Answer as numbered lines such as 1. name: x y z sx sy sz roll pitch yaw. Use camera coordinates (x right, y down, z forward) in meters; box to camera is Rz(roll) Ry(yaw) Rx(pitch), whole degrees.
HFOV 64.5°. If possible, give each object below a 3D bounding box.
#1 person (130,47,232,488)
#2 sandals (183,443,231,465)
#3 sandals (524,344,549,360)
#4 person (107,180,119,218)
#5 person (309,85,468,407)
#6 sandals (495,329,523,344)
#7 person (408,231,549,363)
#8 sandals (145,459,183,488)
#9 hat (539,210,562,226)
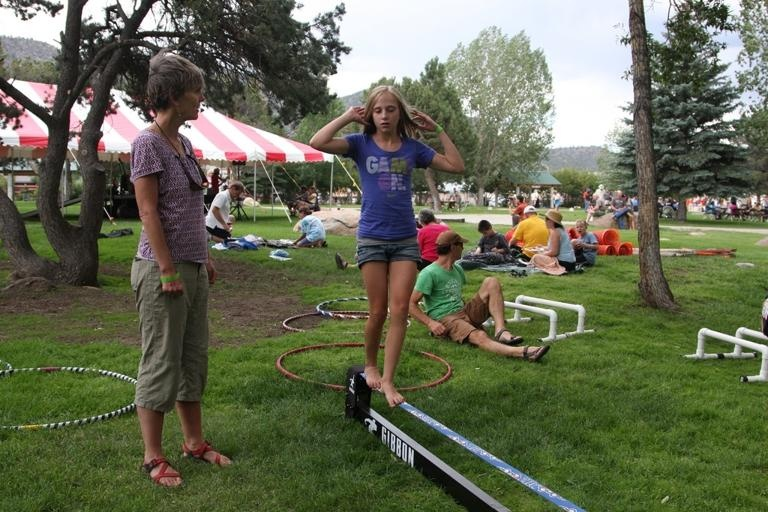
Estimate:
1. person: -1.701 0.092 4.954 0.637 3.457 0.547 -1 7 -32
2. sandals: -1.498 1.682 5.183 0.384 0.153 0.173 3 1 2
3. sandals: 1.795 1.136 7.197 0.167 0.130 0.385 3 -2 -19
4. person: -10.832 -2.314 24.121 0.476 1.503 2.970 0 7 -23
5. person: -0.016 -0.063 5.650 1.334 2.999 0.706 2 6 -7
6. sandals: 1.545 1.014 7.635 0.399 0.179 0.151 -1 0 12
7. person: 1.183 0.479 7.645 1.091 1.400 2.156 -6 12 -28
8. sandals: -1.782 1.736 4.919 0.314 0.121 0.161 9 11 41
9. hat: 3.510 -0.754 12.430 0.348 0.131 0.292 22 12 -24
